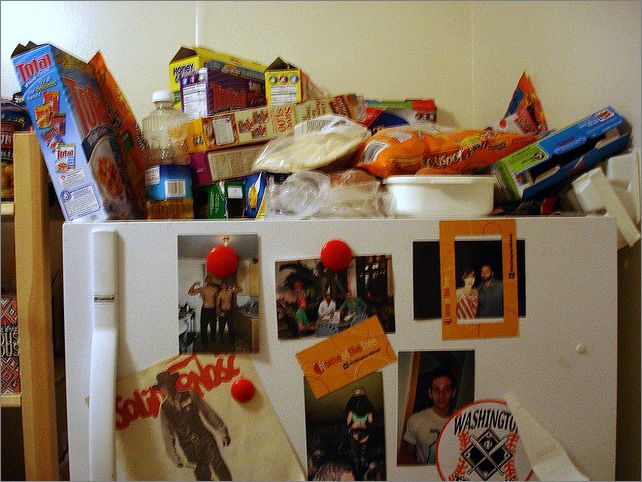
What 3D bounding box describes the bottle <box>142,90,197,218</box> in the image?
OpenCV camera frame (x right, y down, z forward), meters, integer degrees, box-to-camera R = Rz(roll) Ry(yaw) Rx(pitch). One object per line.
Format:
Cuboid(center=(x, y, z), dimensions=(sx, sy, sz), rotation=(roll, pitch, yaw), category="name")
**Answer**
Cuboid(center=(-0.376, -0.208, 1.282), dimensions=(0.115, 0.307, 0.264), rotation=(-4, 9, -18), category="bottle")
